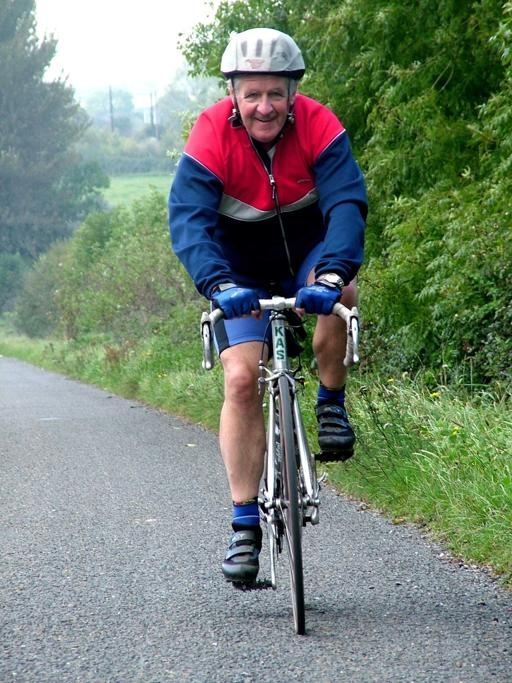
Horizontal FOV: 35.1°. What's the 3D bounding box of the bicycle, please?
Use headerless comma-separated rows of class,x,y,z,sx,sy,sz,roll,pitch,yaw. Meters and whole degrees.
bicycle,0.105,0.443,3.010,0.569,0.777,0.840,-3,2,1

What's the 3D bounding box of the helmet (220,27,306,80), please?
helmet,0.022,-1.039,3.031,0.309,0.205,0.190,-3,2,0

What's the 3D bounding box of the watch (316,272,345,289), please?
watch,0.273,-0.192,2.873,0.058,0.037,0.071,14,-10,-42
